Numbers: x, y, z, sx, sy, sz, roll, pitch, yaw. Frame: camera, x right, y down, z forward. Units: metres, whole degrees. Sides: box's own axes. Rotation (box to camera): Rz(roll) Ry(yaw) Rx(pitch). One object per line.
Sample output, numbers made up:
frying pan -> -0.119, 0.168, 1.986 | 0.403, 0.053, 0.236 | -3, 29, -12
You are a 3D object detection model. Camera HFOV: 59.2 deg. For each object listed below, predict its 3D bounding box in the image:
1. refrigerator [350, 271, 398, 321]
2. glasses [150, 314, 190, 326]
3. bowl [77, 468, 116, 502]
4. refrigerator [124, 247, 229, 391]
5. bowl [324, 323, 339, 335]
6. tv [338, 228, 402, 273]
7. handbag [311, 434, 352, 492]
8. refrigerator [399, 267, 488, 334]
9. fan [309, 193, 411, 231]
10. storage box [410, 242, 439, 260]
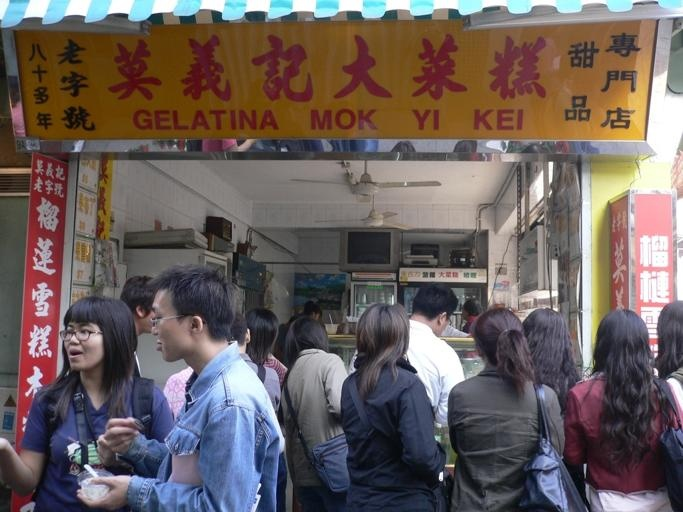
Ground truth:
refrigerator -> 0.413, 0.535, 8.296 | 0.510, 0.693, 0.484 | 2, 1, 7
glasses -> -0.605, 0.225, 2.088 | 0.159, 0.045, 0.044 | -5, -13, 28
bowl -> -0.847, 0.774, 2.060 | 0.105, 0.054, 0.112 | 3, -4, 0
refrigerator -> -1.547, 0.433, 5.339 | 0.819, 1.330, 1.175 | 2, 2, 0
bowl -> -0.102, 0.654, 5.613 | 0.137, 0.112, 0.141 | 0, -4, 0
tv -> 0.365, -0.102, 8.522 | 0.881, 0.671, 0.537 | 1, 13, -3
handbag -> -0.050, 1.068, 3.138 | 0.198, 0.280, 0.101 | -8, -12, -22
refrigerator -> 1.496, 0.632, 8.848 | 1.259, 1.343, 0.507 | -1, 30, 7
fan -> 0.433, -0.484, 7.843 | 0.662, 0.285, 0.594 | 2, 0, -30
storage box -> 1.258, -0.088, 8.972 | 0.371, 0.225, 0.265 | 0, -8, 8
